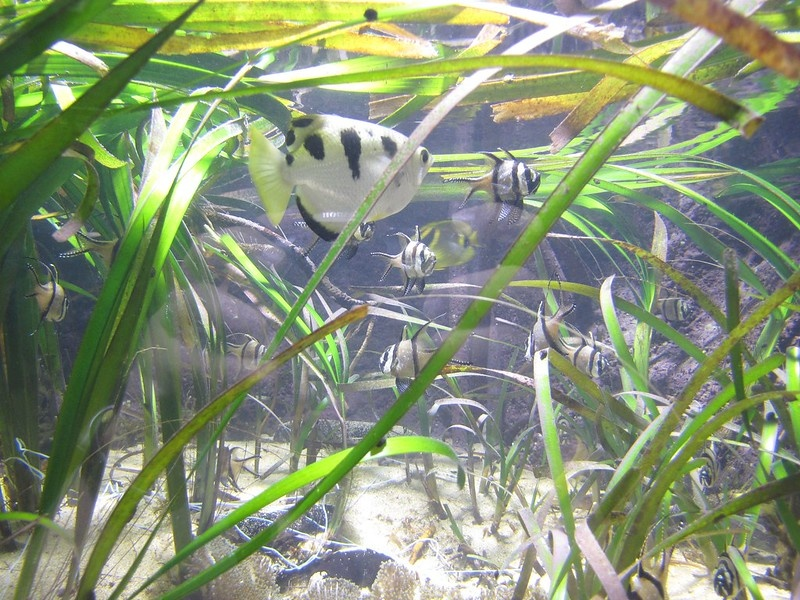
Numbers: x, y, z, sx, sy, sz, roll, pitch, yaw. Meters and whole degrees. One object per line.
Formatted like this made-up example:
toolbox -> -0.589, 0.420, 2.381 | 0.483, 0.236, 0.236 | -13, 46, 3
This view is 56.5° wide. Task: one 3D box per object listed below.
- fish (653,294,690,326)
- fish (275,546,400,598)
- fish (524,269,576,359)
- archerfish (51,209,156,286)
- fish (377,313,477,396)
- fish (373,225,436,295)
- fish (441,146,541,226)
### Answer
fish -> 1.982, 0.055, 5.418 | 0.329, 0.198, 0.173 | 9, -87, 59
fish -> -0.311, 1.315, 3.677 | 0.310, 0.249, 0.120 | -14, -91, 1
fish -> 0.909, 0.094, 4.401 | 0.277, 0.462, 0.168 | 23, 1, -29
archerfish -> -1.464, -0.309, 3.688 | 0.542, 0.389, 0.199 | -25, -56, 35
fish -> 0.131, 0.322, 4.029 | 0.569, 0.238, 0.419 | 6, -69, 24
fish -> 0.019, -0.247, 4.934 | 0.471, 0.124, 0.464 | 1, -85, 27
fish -> 0.598, -0.730, 4.795 | 0.728, 0.223, 0.459 | 1, -75, 38
